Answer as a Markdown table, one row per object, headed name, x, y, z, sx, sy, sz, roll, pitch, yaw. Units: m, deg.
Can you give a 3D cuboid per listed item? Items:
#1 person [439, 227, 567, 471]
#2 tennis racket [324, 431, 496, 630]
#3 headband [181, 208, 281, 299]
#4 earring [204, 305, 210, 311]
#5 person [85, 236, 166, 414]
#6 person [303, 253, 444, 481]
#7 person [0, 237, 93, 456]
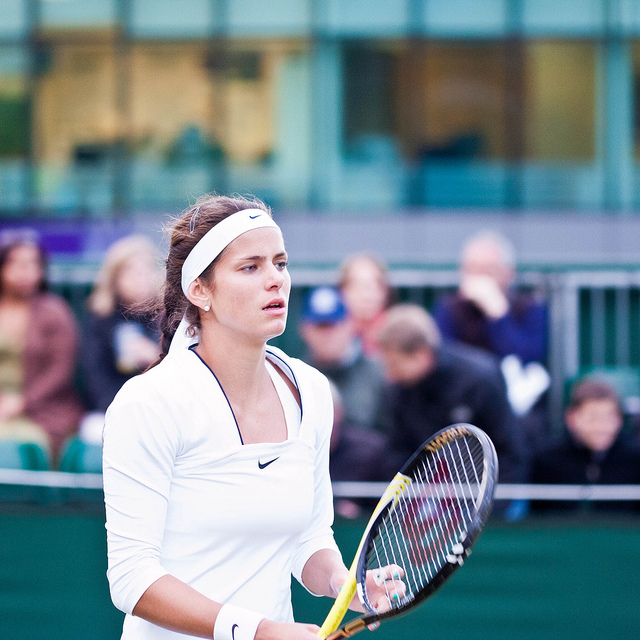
| name | x | y | z | sx | sy | sz | roll | pitch | yaw |
| --- | --- | --- | --- | --- | --- | --- | --- | --- | --- |
| person | 0.889 | 0.262 | 8.198 | 0.470 | 1.636 | 0.453 | 12 | 28 | 31 |
| tennis racket | 0.357 | 0.773 | 5.998 | 0.045 | 1.013 | 0.406 | 28 | -39 | 3 |
| headband | -0.322 | -0.196 | 5.655 | 0.298 | 0.081 | 0.252 | -35 | -40 | 7 |
| earring | -0.399 | -0.049 | 5.705 | 0.018 | 0.021 | 0.008 | -3 | 5 | -5 |
| person | -1.018 | -0.049 | 7.875 | 0.438 | 0.987 | 0.227 | 0 | -10 | 10 |
| person | 0.244 | 0.244 | 7.542 | 0.789 | 1.196 | 0.367 | -3 | -27 | 2 |
| person | -1.397 | 0.110 | 7.996 | 0.525 | 0.981 | 0.427 | 1 | 6 | 32 |
